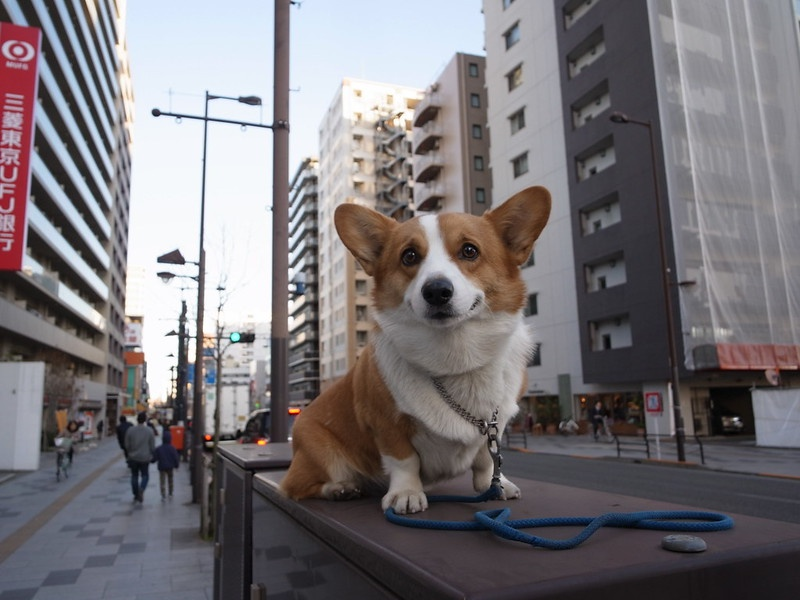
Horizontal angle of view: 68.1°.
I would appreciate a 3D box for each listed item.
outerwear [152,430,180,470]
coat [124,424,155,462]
[{"bbox_3d":[-5.863,3.836,14.911,0.583,0.826,1.130,11,-12,-20],"label":"outerwear"},{"bbox_3d":[-6.075,3.292,13.887,0.661,0.960,0.482,4,-2,-13],"label":"coat"}]
